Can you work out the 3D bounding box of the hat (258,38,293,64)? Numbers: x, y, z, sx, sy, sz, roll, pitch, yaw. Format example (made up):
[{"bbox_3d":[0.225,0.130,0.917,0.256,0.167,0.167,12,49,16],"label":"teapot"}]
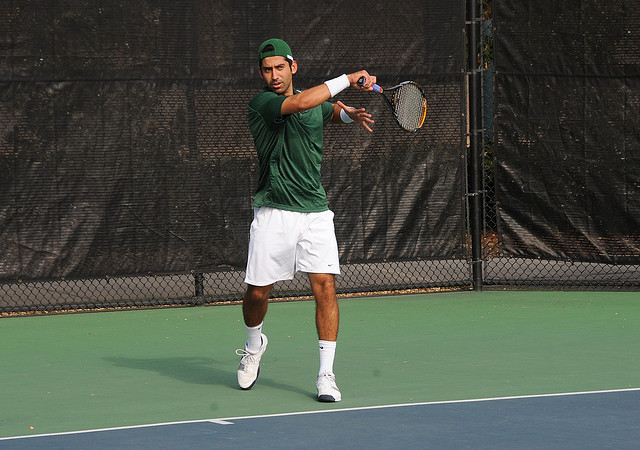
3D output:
[{"bbox_3d":[-0.308,-1.204,5.051,0.228,0.170,0.178,-3,7,-11],"label":"hat"}]

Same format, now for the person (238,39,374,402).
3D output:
[{"bbox_3d":[-0.149,-0.065,5.261,0.957,2.447,1.119,-1,7,2],"label":"person"}]

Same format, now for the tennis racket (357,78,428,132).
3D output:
[{"bbox_3d":[0.585,-1.073,6.073,0.088,0.404,0.977,-9,33,-32],"label":"tennis racket"}]
